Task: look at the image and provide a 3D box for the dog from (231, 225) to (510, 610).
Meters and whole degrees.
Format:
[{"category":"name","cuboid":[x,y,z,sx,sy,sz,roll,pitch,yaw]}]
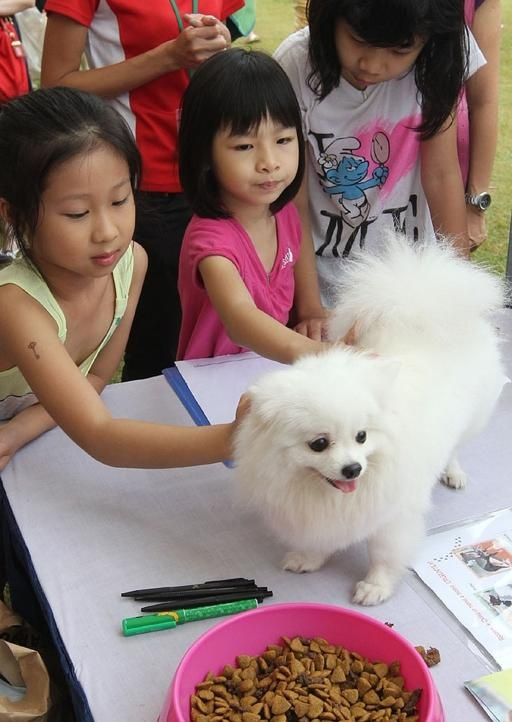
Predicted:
[{"category":"dog","cuboid":[0.174,0.066,0.934,0.248,0.325,0.477,10,38,30]}]
